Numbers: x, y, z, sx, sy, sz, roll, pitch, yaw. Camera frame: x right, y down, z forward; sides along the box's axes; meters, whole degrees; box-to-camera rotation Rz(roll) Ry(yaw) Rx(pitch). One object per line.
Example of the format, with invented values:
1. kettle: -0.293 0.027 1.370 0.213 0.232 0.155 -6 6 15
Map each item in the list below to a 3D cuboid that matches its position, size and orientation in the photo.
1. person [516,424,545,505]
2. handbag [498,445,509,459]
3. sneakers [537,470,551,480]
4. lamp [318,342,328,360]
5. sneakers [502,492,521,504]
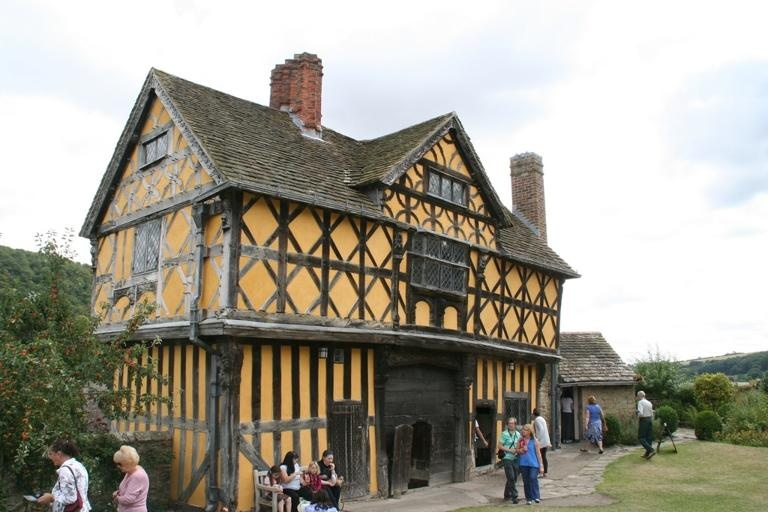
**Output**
1. person: 3.735 5.339 18.801 0.556 1.916 0.864 -5 -19 9
2. handbag: 3.141 5.179 19.280 0.278 0.550 0.375 0 -1 3
3. sneakers: 4.702 6.424 21.541 0.142 0.188 0.431 1 -2 1
4. lamp: -1.586 2.510 19.187 0.304 0.335 0.107 13 -23 -37
5. sneakers: 3.341 6.364 19.234 0.196 0.230 0.525 8 -16 -40
